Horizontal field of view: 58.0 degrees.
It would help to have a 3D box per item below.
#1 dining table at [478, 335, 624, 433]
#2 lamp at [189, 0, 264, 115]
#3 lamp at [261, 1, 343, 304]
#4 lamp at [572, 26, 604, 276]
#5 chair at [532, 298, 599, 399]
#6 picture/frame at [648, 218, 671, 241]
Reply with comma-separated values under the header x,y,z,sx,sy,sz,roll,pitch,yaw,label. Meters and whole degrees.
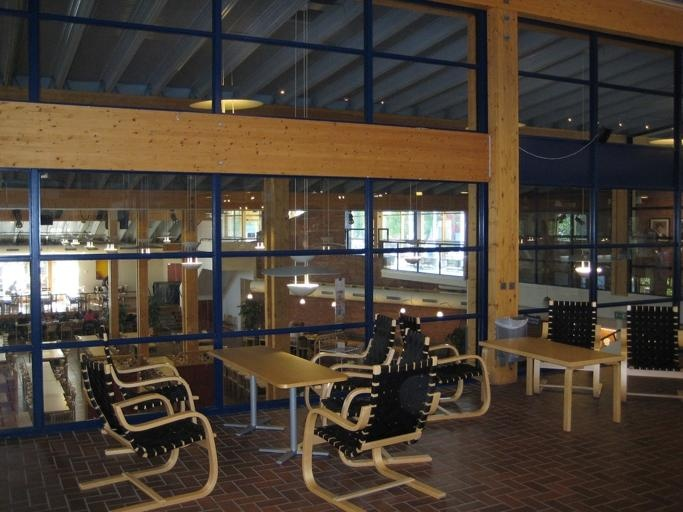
x,y,z,sx,sy,sz,roll,pitch,yaw,label
2.966,1.348,8.274,1.171,0.883,1.864,-1,1,-27,dining table
-1.585,-2.677,8.321,0.863,1.497,0.309,-5,10,-31,lamp
-0.551,-1.454,8.850,1.200,4.195,0.738,-2,9,-10,lamp
4.316,-1.675,10.542,0.366,4.160,0.463,1,9,7,lamp
3.285,1.304,8.994,1.064,1.150,1.040,-2,8,17,chair
5.820,-0.508,11.313,0.475,0.487,0.035,-2,3,-22,picture/frame
